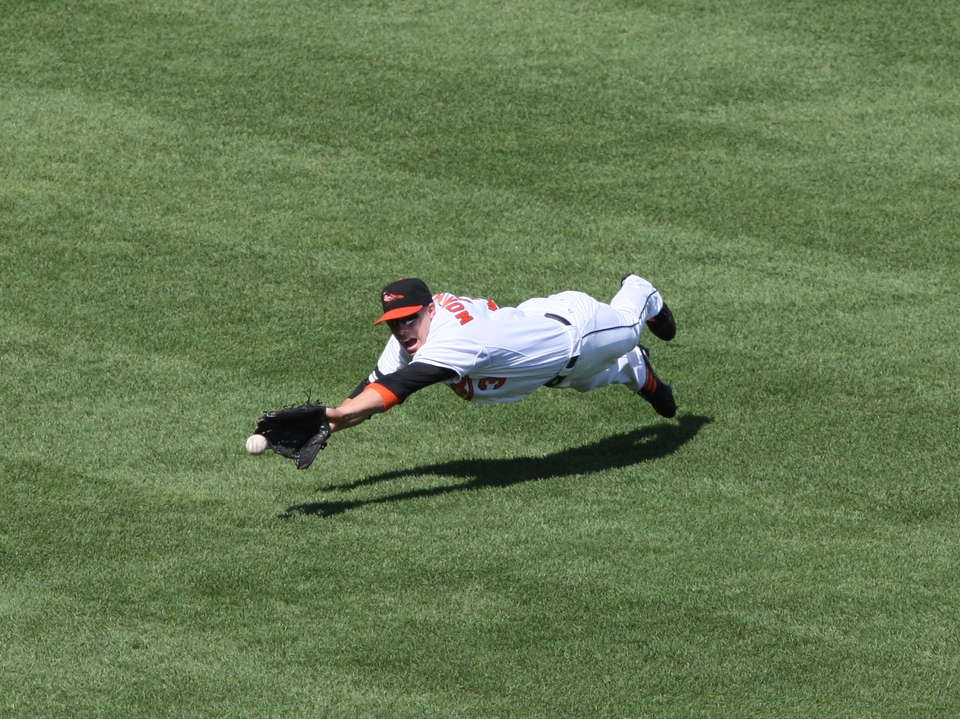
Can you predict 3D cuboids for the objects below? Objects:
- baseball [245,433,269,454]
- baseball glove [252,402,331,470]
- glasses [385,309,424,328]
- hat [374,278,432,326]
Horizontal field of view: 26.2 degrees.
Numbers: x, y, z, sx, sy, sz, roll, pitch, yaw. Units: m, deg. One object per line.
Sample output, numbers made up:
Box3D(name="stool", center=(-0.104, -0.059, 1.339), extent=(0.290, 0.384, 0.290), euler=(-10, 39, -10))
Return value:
Box3D(name="baseball", center=(-1.758, 0.682, 16.325), extent=(0.164, 0.176, 0.170), euler=(5, 21, -4))
Box3D(name="baseball glove", center=(-1.463, 0.623, 16.509), extent=(0.483, 0.581, 0.267), euler=(-3, 12, -6))
Box3D(name="glasses", center=(-0.675, -0.320, 16.802), extent=(0.396, 0.159, 0.237), euler=(-7, 4, -37))
Box3D(name="hat", center=(-0.643, -0.504, 16.768), extent=(0.407, 0.277, 0.579), euler=(-6, 16, 32))
